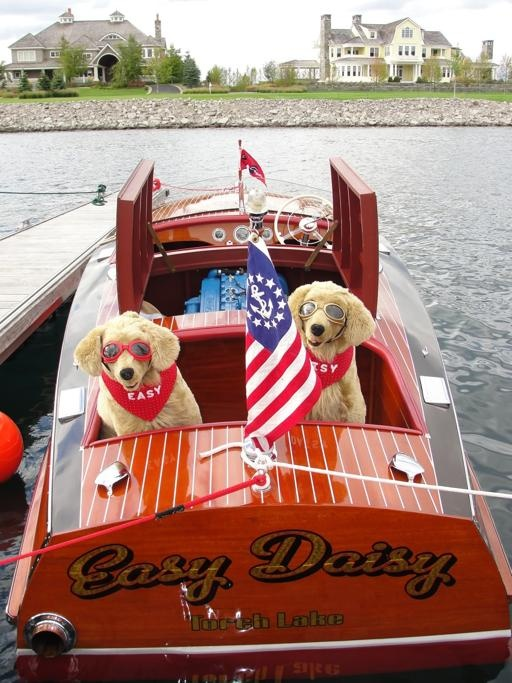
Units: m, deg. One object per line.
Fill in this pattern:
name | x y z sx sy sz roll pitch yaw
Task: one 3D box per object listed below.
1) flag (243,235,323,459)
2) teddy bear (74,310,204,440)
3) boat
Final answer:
flag | 0.091 0.024 1.996 0.252 0.740 0.225 3 24 6
teddy bear | -0.503 0.164 2.628 0.318 0.479 0.462 -21 49 11
boat | 0.062 0.509 3.808 2.206 1.438 3.368 -2 31 0
